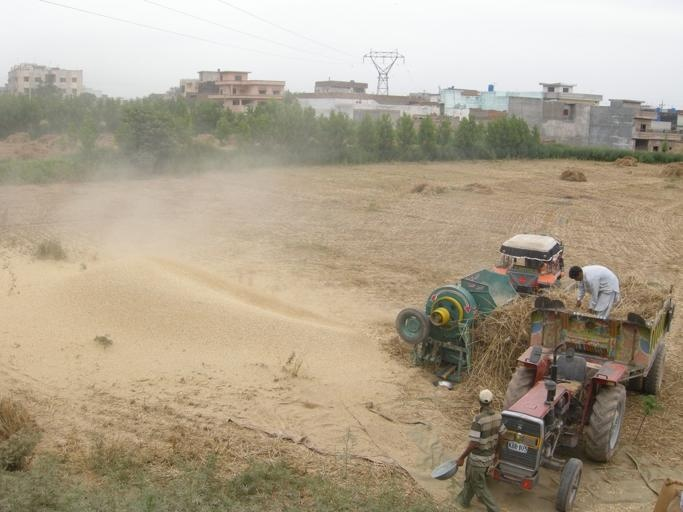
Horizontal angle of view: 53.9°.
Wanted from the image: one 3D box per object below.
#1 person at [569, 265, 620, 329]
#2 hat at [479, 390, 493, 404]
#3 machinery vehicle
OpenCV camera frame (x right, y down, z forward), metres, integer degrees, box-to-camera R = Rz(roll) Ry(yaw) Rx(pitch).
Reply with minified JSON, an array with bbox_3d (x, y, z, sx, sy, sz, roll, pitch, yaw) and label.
[{"bbox_3d":[4.796,0.744,12.785,0.843,1.419,0.587,-7,25,8],"label":"person"},{"bbox_3d":[2.162,2.092,10.116,0.152,0.139,0.239,-1,23,5],"label":"hat"},{"bbox_3d":[4.153,2.321,11.396,1.795,2.004,4.620,9,25,30],"label":"machinery vehicle"}]
